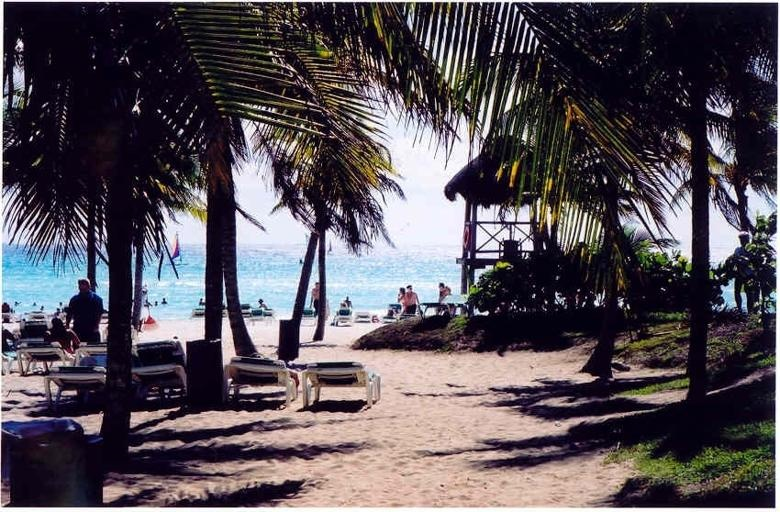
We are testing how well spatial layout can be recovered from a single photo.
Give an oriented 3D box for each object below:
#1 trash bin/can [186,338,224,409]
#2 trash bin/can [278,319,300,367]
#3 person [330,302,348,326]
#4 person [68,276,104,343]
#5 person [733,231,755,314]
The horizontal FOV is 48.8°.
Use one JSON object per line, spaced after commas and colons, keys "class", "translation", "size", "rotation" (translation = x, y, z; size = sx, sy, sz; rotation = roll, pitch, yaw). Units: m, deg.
{"class": "trash bin/can", "translation": [-2.921, 1.842, 13.600], "size": [0.592, 0.981, 0.492], "rotation": [-3, 8, -14]}
{"class": "trash bin/can", "translation": [-2.253, 1.849, 18.735], "size": [0.380, 0.993, 0.894], "rotation": [-1, 8, 2]}
{"class": "person", "translation": [-1.724, 2.144, 31.009], "size": [0.548, 0.994, 0.795], "rotation": [0, -15, 1]}
{"class": "person", "translation": [-5.443, 1.000, 15.338], "size": [0.634, 1.297, 1.059], "rotation": [-4, 8, -21]}
{"class": "person", "translation": [6.202, 0.295, 15.155], "size": [0.368, 1.458, 1.552], "rotation": [2, 8, 22]}
